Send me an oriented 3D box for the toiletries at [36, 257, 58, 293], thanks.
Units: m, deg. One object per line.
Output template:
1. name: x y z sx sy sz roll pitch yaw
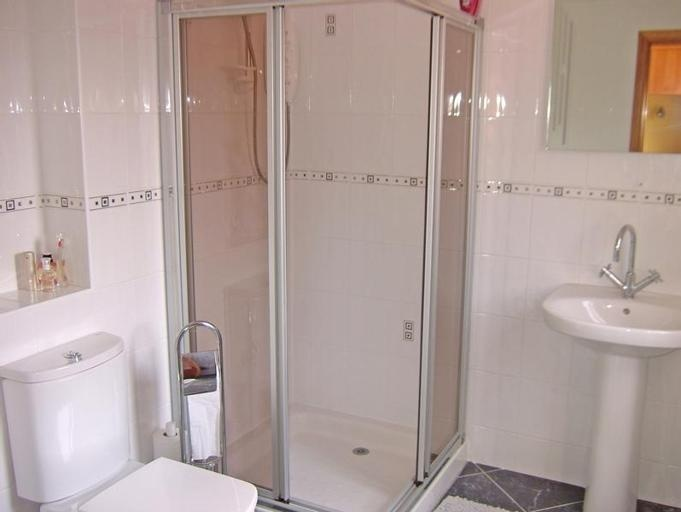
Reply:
1. toiletries: -1.133 0.061 2.053 0.067 0.139 0.094 -5 13 -24

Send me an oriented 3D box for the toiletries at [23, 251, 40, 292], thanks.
1. toiletries: -1.183 0.056 2.033 0.046 0.146 0.077 -7 13 -30

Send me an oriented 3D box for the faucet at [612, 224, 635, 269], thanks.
1. faucet: 1.335 -0.041 2.501 0.099 0.215 0.112 6 13 27
